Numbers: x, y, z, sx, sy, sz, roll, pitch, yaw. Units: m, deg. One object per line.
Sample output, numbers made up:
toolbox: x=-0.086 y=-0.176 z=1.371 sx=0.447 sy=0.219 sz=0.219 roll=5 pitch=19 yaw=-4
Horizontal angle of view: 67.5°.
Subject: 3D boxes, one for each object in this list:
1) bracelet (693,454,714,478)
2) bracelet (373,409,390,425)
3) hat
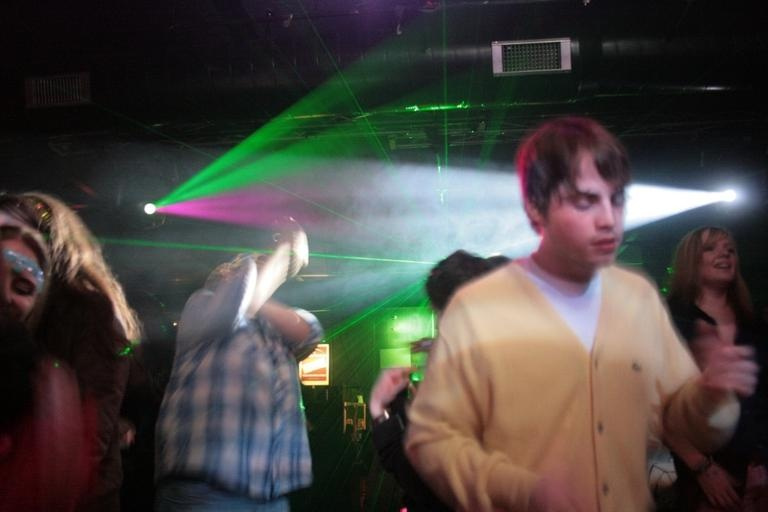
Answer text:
bracelet: x=1.965 y=1.288 z=3.535 sx=0.167 sy=0.059 sz=0.154 roll=-46 pitch=-17 yaw=-13
bracelet: x=-0.012 y=0.836 z=2.979 sx=0.072 sy=0.051 sz=0.069 roll=-22 pitch=-29 yaw=-21
hat: x=0.444 y=0.163 z=3.150 sx=0.379 sy=0.154 sz=0.288 roll=-32 pitch=7 yaw=21
